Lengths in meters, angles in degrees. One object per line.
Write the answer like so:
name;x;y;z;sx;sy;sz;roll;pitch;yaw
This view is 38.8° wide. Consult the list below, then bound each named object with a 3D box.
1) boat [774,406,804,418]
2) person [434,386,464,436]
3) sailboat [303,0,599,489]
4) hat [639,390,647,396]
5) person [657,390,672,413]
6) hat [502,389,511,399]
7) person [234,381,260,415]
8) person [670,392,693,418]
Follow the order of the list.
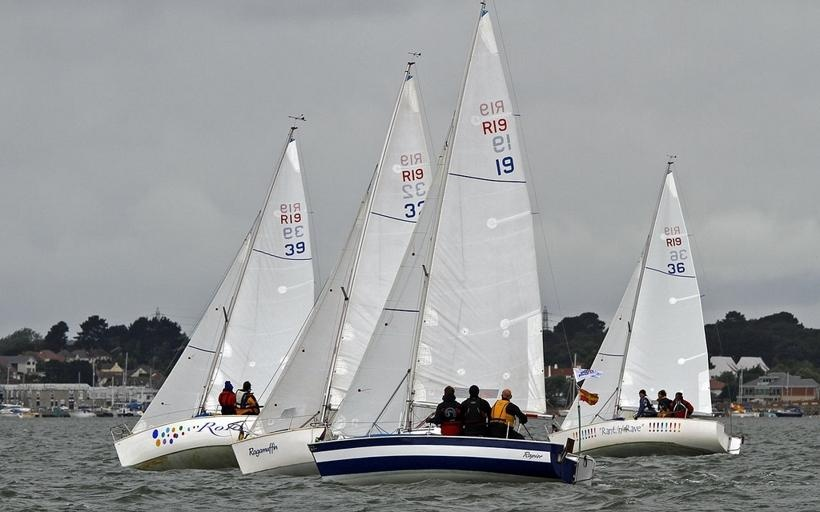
boat;45.113;18.665;138.416;3.736;1.235;1.365;2;-7;-5
person;1.119;4.491;33.473;0.835;1.424;0.415;1;-16;-1
sailboat;1.578;-0.299;35.519;6.447;14.286;2.501;-2;-16;8
hat;8.446;4.980;42.163;0.234;0.150;0.315;5;21;3
person;9.310;5.321;42.412;0.548;0.972;1.088;-3;-17;12
hat;2.814;4.036;33.906;0.250;0.257;0.371;-1;-8;-1
person;-5.564;4.844;39.366;0.921;1.317;0.735;3;4;33
person;9.815;5.455;42.048;0.841;1.283;0.909;0;1;12
